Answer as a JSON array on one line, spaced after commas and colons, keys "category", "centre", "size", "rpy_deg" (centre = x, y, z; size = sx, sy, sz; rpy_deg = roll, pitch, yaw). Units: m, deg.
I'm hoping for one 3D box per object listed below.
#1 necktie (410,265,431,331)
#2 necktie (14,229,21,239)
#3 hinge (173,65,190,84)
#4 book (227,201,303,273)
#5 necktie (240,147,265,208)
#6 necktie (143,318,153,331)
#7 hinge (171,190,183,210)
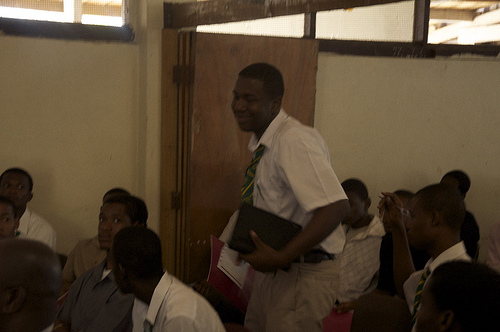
[{"category": "necktie", "centre": [0.844, 0.656, 2.162], "size": [0.075, 0.283, 0.408], "rpy_deg": [4, 6, 23]}, {"category": "necktie", "centre": [-1.809, 0.514, 3.400], "size": [0.062, 0.065, 0.035], "rpy_deg": [6, 7, 39]}, {"category": "hinge", "centre": [-0.522, -0.705, 3.323], "size": [0.160, 0.174, 0.118], "rpy_deg": [4, 10, 13]}, {"category": "book", "centre": [0.071, 0.311, 2.106], "size": [0.352, 0.244, 0.071], "rpy_deg": [2, 5, 7]}, {"category": "necktie", "centre": [0.016, 0.047, 2.274], "size": [0.109, 0.299, 0.071], "rpy_deg": [1, 5, -1]}, {"category": "necktie", "centre": [-0.500, 0.772, 2.137], "size": [0.062, 0.065, 0.072], "rpy_deg": [1, -16, -2]}, {"category": "hinge", "centre": [-0.575, 0.277, 3.519], "size": [0.118, 0.175, 0.111], "rpy_deg": [0, 2, -24]}]
